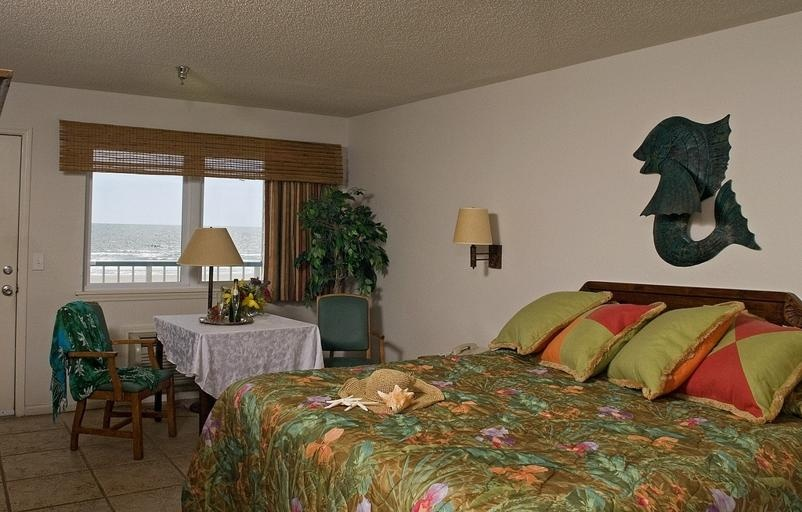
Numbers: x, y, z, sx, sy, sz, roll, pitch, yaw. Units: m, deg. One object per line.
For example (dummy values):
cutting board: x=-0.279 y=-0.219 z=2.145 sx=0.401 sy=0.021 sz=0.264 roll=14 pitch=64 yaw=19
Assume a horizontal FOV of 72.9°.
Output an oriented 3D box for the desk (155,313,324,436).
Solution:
desk: x=-1.083 y=0.943 z=4.935 sx=1.527 sy=0.709 sz=1.230 roll=-7 pitch=0 yaw=32

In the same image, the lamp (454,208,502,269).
lamp: x=0.696 y=-0.130 z=4.818 sx=0.322 sy=0.585 sz=0.451 roll=7 pitch=12 yaw=37

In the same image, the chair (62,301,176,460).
chair: x=-2.429 y=1.012 z=4.595 sx=0.925 sy=1.148 sz=0.801 roll=1 pitch=1 yaw=-20

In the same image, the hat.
hat: x=-0.076 y=0.751 z=3.006 sx=0.308 sy=0.073 sz=0.307 roll=4 pitch=7 yaw=31

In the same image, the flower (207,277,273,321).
flower: x=-1.507 y=0.342 z=4.960 sx=0.454 sy=0.297 sz=0.404 roll=16 pitch=4 yaw=42
